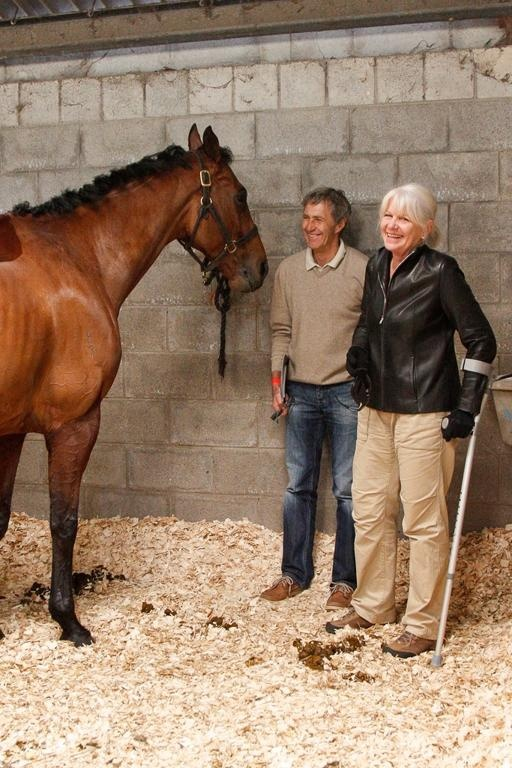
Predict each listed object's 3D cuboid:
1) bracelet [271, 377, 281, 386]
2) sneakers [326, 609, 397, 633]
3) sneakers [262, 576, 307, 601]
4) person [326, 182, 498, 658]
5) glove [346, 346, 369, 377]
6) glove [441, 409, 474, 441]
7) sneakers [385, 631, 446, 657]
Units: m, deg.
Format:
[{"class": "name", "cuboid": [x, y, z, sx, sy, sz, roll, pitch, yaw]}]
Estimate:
[{"class": "bracelet", "cuboid": [0.081, -0.014, 4.201, 0.034, 0.024, 0.033, 2, 1, 10]}, {"class": "sneakers", "cuboid": [0.404, 0.886, 3.738, 0.277, 0.103, 0.091, 4, -10, -2]}, {"class": "sneakers", "cuboid": [0.113, 0.850, 4.084, 0.068, 0.070, 0.177, -5, -9, 43]}, {"class": "person", "cuboid": [0.507, 0.122, 3.535, 0.381, 1.644, 0.620, -11, 16, -38]}, {"class": "glove", "cuboid": [0.372, -0.086, 3.615, 0.081, 0.105, 0.040, 5, -7, 45]}, {"class": "glove", "cuboid": [0.682, 0.138, 3.354, 0.086, 0.113, 0.054, 26, 45, -13]}, {"class": "sneakers", "cuboid": [0.542, 0.912, 3.480, 0.157, 0.058, 0.080, 2, 1, 2]}]
